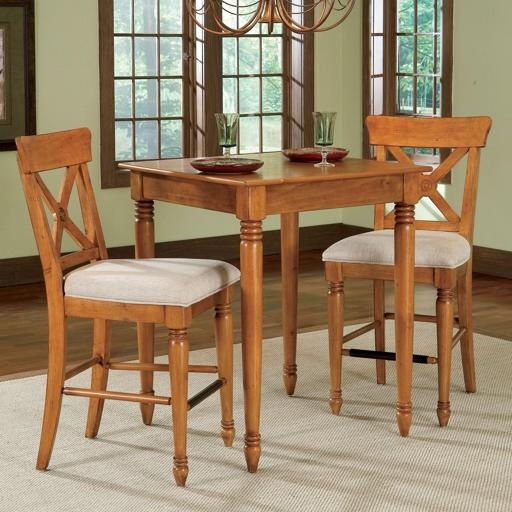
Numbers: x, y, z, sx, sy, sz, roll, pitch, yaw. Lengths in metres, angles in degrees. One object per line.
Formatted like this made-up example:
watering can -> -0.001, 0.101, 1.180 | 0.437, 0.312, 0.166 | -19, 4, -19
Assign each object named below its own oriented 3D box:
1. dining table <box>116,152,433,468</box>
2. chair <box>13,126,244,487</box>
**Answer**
dining table -> 0.118, 0.126, 2.075 | 1.044, 1.048, 1.054 | -6, 6, -44
chair -> -0.342, 0.104, 1.523 | 0.538, 0.988, 0.395 | 1, 6, 16
